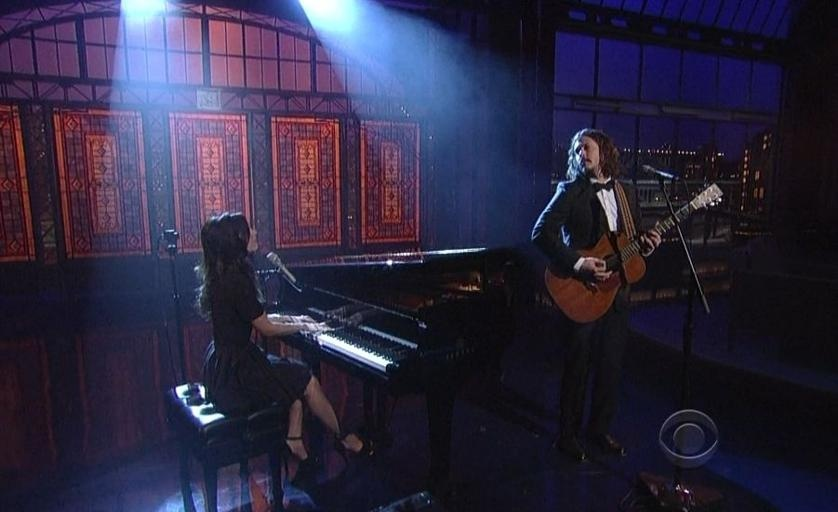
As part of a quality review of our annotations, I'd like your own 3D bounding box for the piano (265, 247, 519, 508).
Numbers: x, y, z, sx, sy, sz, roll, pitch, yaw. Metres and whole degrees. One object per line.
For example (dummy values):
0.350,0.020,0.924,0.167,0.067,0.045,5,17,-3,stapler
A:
-0.166,0.910,6.181,2.403,1.505,2.179,-1,1,-34,piano
